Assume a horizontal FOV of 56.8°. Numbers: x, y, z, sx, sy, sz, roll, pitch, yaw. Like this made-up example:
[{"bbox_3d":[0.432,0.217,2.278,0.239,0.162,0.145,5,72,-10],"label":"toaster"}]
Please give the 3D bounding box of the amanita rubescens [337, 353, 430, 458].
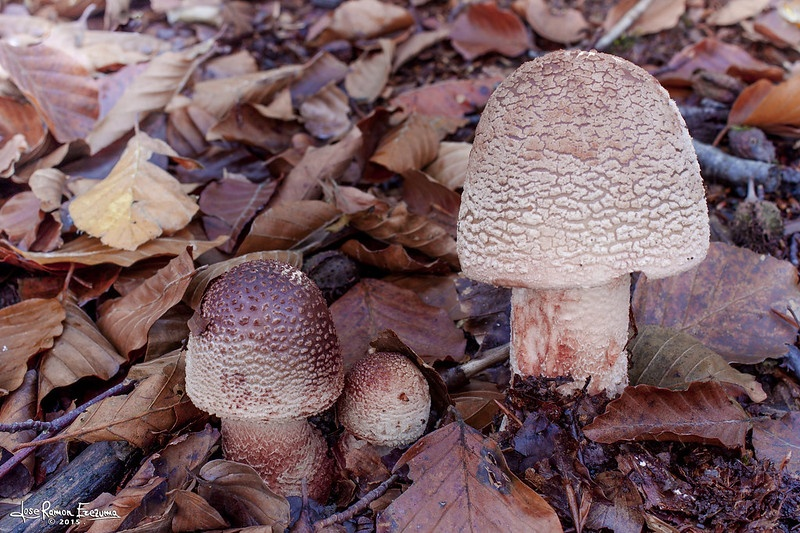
[{"bbox_3d":[-0.074,0.663,3.685,0.432,0.235,0.416,14,71,3],"label":"amanita rubescens"}]
